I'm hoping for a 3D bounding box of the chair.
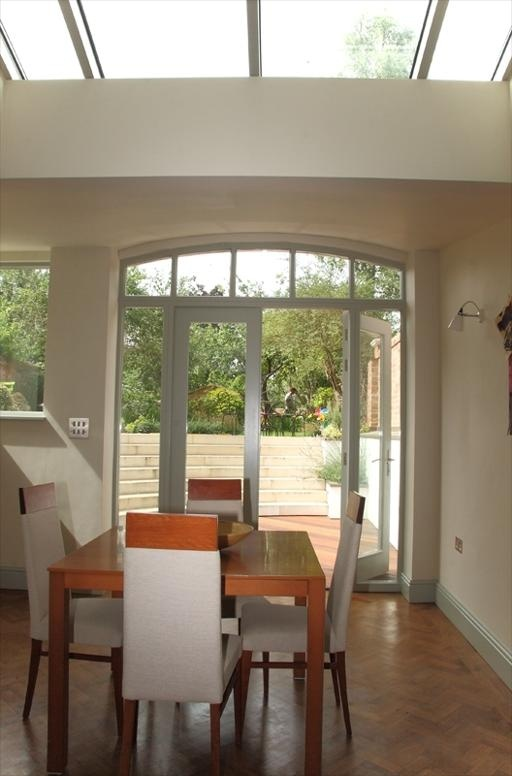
[{"bbox_3d":[-0.288,0.858,2.333,1.398,0.900,0.855,2,2,11],"label":"chair"}]

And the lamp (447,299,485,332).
[{"bbox_3d":[1.259,-0.424,3.332,0.229,0.212,0.097,0,3,-14],"label":"lamp"}]
